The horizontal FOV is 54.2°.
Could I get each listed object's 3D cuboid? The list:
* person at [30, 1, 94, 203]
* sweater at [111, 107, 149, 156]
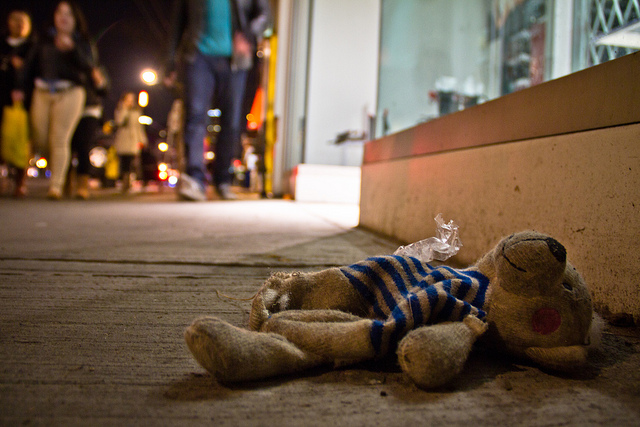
[{"bbox_3d":[-2.396,-1.015,5.856,0.763,1.784,0.432,4,4,29],"label":"person"},{"bbox_3d":[-2.924,-1.226,9.549,0.432,1.044,0.443,0,10,-14],"label":"sweater"}]
